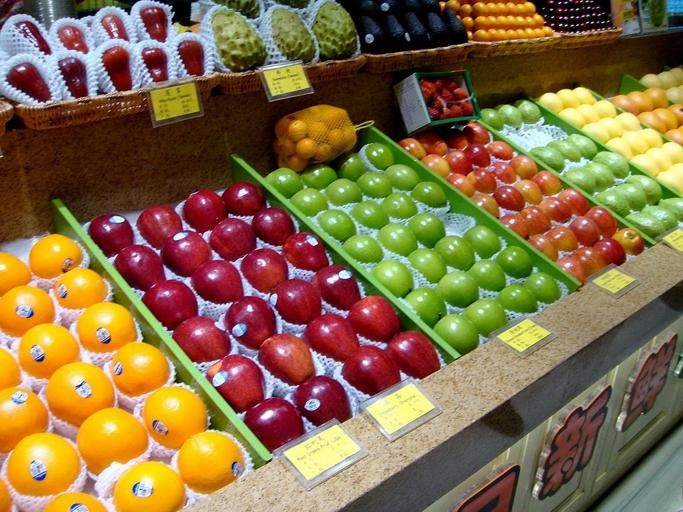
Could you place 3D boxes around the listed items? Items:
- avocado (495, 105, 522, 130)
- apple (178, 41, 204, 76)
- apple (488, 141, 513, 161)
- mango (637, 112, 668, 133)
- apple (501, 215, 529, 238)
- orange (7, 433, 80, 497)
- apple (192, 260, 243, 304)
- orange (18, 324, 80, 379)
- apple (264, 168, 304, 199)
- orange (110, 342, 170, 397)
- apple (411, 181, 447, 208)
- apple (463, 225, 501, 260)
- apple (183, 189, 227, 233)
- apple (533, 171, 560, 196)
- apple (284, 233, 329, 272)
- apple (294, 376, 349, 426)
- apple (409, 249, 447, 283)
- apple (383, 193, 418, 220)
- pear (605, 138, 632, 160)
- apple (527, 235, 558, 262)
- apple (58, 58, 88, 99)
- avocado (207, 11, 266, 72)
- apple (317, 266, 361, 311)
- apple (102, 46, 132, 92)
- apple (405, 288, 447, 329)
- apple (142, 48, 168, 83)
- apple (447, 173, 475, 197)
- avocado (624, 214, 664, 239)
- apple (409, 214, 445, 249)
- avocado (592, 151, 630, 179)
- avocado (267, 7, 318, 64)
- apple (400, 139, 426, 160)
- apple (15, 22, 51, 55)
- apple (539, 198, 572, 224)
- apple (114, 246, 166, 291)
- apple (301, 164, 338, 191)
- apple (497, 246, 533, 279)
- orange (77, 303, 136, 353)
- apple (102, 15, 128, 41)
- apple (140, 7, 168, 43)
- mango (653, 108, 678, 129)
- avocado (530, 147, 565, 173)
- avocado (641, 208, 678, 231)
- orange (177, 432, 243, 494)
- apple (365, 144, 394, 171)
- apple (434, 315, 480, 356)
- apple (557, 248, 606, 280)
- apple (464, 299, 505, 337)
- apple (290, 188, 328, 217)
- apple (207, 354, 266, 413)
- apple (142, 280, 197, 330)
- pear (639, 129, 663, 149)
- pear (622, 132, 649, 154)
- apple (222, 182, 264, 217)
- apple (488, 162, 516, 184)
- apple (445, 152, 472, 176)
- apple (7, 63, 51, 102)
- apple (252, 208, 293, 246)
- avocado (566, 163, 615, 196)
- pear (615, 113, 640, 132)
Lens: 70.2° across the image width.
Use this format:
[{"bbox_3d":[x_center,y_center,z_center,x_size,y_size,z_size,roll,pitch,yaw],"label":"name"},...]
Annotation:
[{"bbox_3d":[0.977,-0.827,2.929,0.110,0.095,0.156,-31,68,-21],"label":"avocado"},{"bbox_3d":[-0.553,-0.737,1.811,0.058,0.123,0.113,-5,42,12],"label":"apple"},{"bbox_3d":[0.837,-0.546,2.549,0.120,0.067,0.122,5,44,21],"label":"apple"},{"bbox_3d":[1.963,-0.833,3.066,0.111,0.107,0.129,-18,42,-5],"label":"mango"},{"bbox_3d":[0.745,-0.128,2.067,0.113,0.067,0.090,35,34,3],"label":"apple"},{"bbox_3d":[-0.656,0.481,1.137,0.136,0.102,0.131,32,60,0],"label":"orange"},{"bbox_3d":[-0.412,0.097,1.627,0.149,0.119,0.129,-28,42,-15],"label":"apple"},{"bbox_3d":[-0.782,0.253,1.329,0.170,0.141,0.142,6,-10,-35],"label":"orange"},{"bbox_3d":[-0.227,-0.296,2.095,0.130,0.130,0.132,26,48,-17],"label":"apple"},{"bbox_3d":[-0.534,0.296,1.326,0.135,0.165,0.140,-1,80,47],"label":"orange"},{"bbox_3d":[0.392,-0.260,2.144,0.143,0.105,0.106,-24,42,-11],"label":"apple"},{"bbox_3d":[0.578,-0.050,2.020,0.132,0.124,0.145,3,66,-18],"label":"apple"},{"bbox_3d":[-0.518,-0.161,1.851,0.110,0.131,0.109,-32,17,18],"label":"apple"},{"bbox_3d":[0.999,-0.348,2.373,0.087,0.105,0.086,-52,12,-17],"label":"apple"},{"bbox_3d":[-0.117,-0.011,1.830,0.173,0.143,0.133,5,25,34],"label":"apple"},{"bbox_3d":[-0.054,0.416,1.383,0.141,0.118,0.120,-24,42,-11],"label":"apple"},{"bbox_3d":[0.324,0.046,1.873,0.138,0.150,0.134,-13,0,13],"label":"apple"},{"bbox_3d":[0.251,-0.200,2.063,0.116,0.069,0.114,40,57,23],"label":"apple"},{"bbox_3d":[1.590,-0.606,2.788,0.094,0.090,0.107,-24,56,-3],"label":"pear"},{"bbox_3d":[0.844,-0.029,2.025,0.124,0.102,0.122,-4,42,12],"label":"apple"},{"bbox_3d":[-0.868,-0.579,1.584,0.053,0.112,0.097,-1,43,16],"label":"apple"},{"bbox_3d":[-0.406,-0.853,1.928,0.186,0.205,0.225,-16,41,-1],"label":"avocado"},{"bbox_3d":[-0.009,0.126,1.735,0.135,0.150,0.159,5,63,-20],"label":"apple"},{"bbox_3d":[-0.745,-0.621,1.633,0.076,0.144,0.066,-14,22,-25],"label":"apple"},{"bbox_3d":[0.280,0.168,1.732,0.132,0.128,0.142,18,81,-13],"label":"apple"},{"bbox_3d":[-0.652,-0.665,1.709,0.058,0.058,0.123,-19,66,17],"label":"apple"},{"bbox_3d":[0.538,-0.315,2.200,0.093,0.075,0.075,25,43,-17],"label":"apple"},{"bbox_3d":[1.451,-0.145,2.317,0.159,0.094,0.089,34,27,22],"label":"avocado"},{"bbox_3d":[0.354,-0.104,2.005,0.128,0.139,0.123,-1,4,-8],"label":"apple"},{"bbox_3d":[1.500,-0.507,2.707,0.179,0.101,0.134,38,26,4],"label":"avocado"},{"bbox_3d":[-0.213,-0.886,2.064,0.171,0.147,0.252,-14,77,-29],"label":"avocado"},{"bbox_3d":[0.341,-0.509,2.345,0.100,0.088,0.089,49,45,11],"label":"apple"},{"bbox_3d":[-1.005,-0.718,1.592,0.073,0.122,0.044,-40,9,-40],"label":"apple"},{"bbox_3d":[0.987,-0.207,2.275,0.138,0.099,0.104,17,64,3],"label":"apple"},{"bbox_3d":[-0.675,0.044,1.647,0.129,0.119,0.135,-35,45,-22],"label":"apple"},{"bbox_3d":[-0.102,-0.333,2.103,0.138,0.108,0.123,-3,11,-3],"label":"apple"},{"bbox_3d":[0.723,0.033,1.948,0.119,0.132,0.120,-9,-1,29],"label":"apple"},{"bbox_3d":[-0.660,0.204,1.447,0.166,0.138,0.138,11,68,-8],"label":"orange"},{"bbox_3d":[-0.806,-0.809,1.732,0.072,0.080,0.101,-25,42,-11],"label":"apple"},{"bbox_3d":[-0.692,-0.859,1.803,0.078,0.145,0.063,-2,-7,-42],"label":"apple"},{"bbox_3d":[2.080,-0.874,3.123,0.117,0.139,0.111,29,96,43],"label":"mango"},{"bbox_3d":[1.109,-0.506,2.642,0.161,0.117,0.124,35,12,11],"label":"avocado"},{"bbox_3d":[1.573,-0.203,2.440,0.123,0.090,0.158,-14,22,-14],"label":"avocado"},{"bbox_3d":[-0.320,0.499,1.172,0.122,0.107,0.119,0,43,17],"label":"orange"},{"bbox_3d":[0.183,-0.450,2.311,0.102,0.138,0.104,-64,23,-2],"label":"apple"},{"bbox_3d":[0.391,0.258,1.691,0.127,0.128,0.151,-45,78,7],"label":"apple"},{"bbox_3d":[0.968,0.038,1.952,0.083,0.084,0.081,-40,15,6],"label":"apple"},{"bbox_3d":[0.530,0.208,1.737,0.131,0.118,0.123,-17,-3,9],"label":"apple"},{"bbox_3d":[-0.127,-0.217,2.024,0.125,0.118,0.119,31,11,-10],"label":"apple"},{"bbox_3d":[-0.294,0.361,1.397,0.128,0.108,0.150,-34,44,-21],"label":"apple"},{"bbox_3d":[-0.537,0.156,1.557,0.136,0.113,0.147,-35,44,-22],"label":"apple"},{"bbox_3d":[1.845,-0.695,2.909,0.096,0.124,0.097,-59,24,2],"label":"pear"},{"bbox_3d":[1.733,-0.665,2.913,0.124,0.089,0.154,-5,39,-5],"label":"pear"},{"bbox_3d":[-0.372,-0.218,1.924,0.161,0.134,0.136,7,71,-1],"label":"apple"},{"bbox_3d":[0.792,-0.405,2.421,0.126,0.096,0.090,22,67,-3],"label":"apple"},{"bbox_3d":[0.564,-0.440,2.348,0.094,0.111,0.095,-18,20,50],"label":"apple"},{"bbox_3d":[-0.958,-0.529,1.542,0.138,0.056,0.082,41,91,0],"label":"apple"},{"bbox_3d":[-0.264,-0.110,1.847,0.149,0.102,0.128,1,43,17],"label":"apple"},{"bbox_3d":[1.308,-0.396,2.562,0.278,0.112,0.135,-2,45,-34],"label":"avocado"},{"bbox_3d":[1.762,-0.820,3.004,0.100,0.102,0.117,-28,53,-29],"label":"pear"}]
